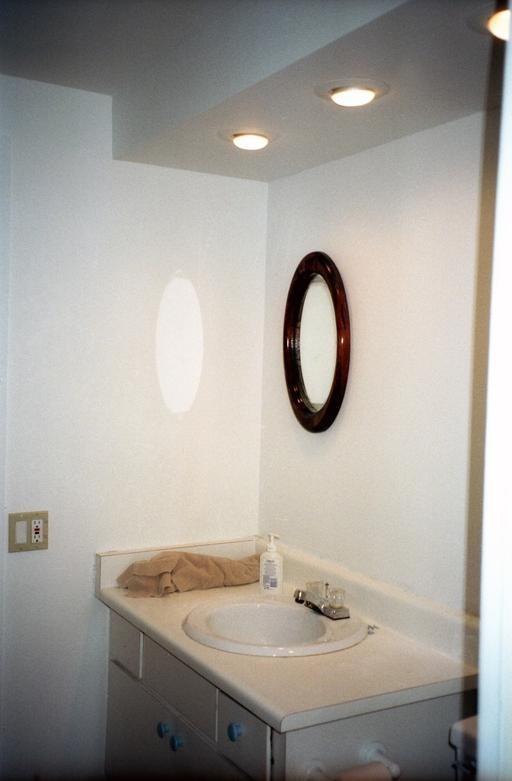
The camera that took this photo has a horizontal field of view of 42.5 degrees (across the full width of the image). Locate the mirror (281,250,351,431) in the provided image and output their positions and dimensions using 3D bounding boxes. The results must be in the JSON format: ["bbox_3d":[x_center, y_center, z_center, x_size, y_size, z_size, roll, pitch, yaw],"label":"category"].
[{"bbox_3d":[0.114,-0.092,1.296,0.017,0.364,0.240,-1,1,-24],"label":"mirror"}]

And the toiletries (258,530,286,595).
[{"bbox_3d":[0.030,0.323,1.245,0.040,0.128,0.030,2,20,5],"label":"toiletries"}]

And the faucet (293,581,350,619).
[{"bbox_3d":[0.134,0.406,1.363,0.051,0.086,0.148,-1,4,-28],"label":"faucet"}]
